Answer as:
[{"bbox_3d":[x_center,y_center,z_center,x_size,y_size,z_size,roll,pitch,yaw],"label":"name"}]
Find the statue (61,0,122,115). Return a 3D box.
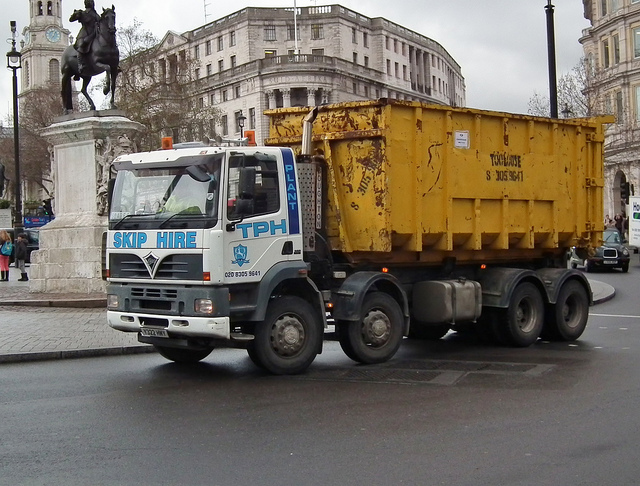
[{"bbox_3d":[-6.539,-5.382,18.554,1.562,3.214,1.981,-1,2,-22],"label":"statue"}]
